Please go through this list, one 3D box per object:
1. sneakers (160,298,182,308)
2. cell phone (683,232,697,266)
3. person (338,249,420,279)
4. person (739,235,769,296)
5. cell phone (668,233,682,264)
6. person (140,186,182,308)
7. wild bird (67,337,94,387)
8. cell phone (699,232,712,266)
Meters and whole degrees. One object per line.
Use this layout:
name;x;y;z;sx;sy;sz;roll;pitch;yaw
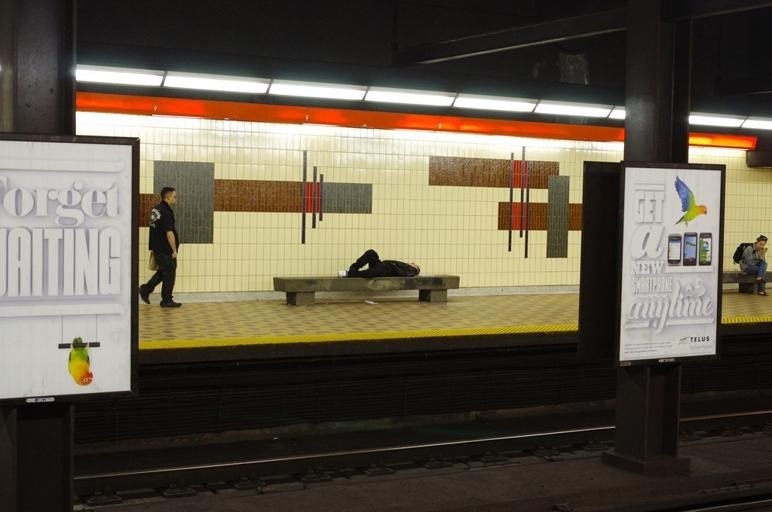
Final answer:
sneakers;-3.806;0.830;11.410;0.382;0.140;0.136;0;6;-15
cell phone;2.928;-0.066;6.237;0.171;0.313;0.037;1;-2;-24
person;-0.070;0.182;12.533;1.185;0.406;0.623;2;-3;-12
person;8.645;0.231;15.321;0.626;1.412;1.322;-1;-1;29
cell phone;2.758;-0.058;6.192;0.159;0.296;0.032;1;-2;-21
person;-3.848;-0.131;11.041;0.650;2.078;0.866;1;-1;-19
wild bird;-2.069;0.718;4.469;0.168;0.295;0.215;-5;18;-23
cell phone;3.104;-0.067;6.288;0.155;0.316;0.038;1;-2;-26
